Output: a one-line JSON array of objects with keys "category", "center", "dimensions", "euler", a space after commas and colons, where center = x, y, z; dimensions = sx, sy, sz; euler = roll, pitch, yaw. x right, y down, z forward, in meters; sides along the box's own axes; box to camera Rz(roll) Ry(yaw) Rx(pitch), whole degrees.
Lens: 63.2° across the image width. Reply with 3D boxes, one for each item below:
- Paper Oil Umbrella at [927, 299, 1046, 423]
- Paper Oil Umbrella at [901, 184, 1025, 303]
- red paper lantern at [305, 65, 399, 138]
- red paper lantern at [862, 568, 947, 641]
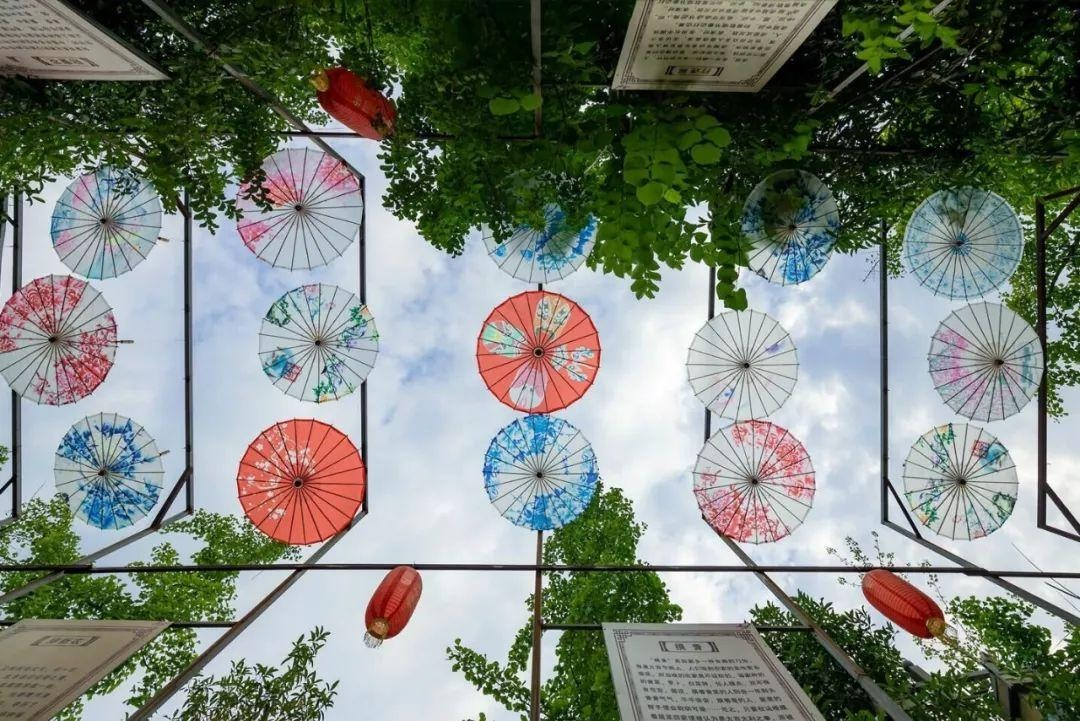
[{"category": "Paper Oil Umbrella", "center": [6.206, 0.023, 12.454], "dimensions": [1.613, 1.099, 2.466], "euler": [-1, 87, 8]}, {"category": "Paper Oil Umbrella", "center": [5.633, -1.544, 11.736], "dimensions": [1.045, 1.267, 1.998], "euler": [-1, 89, -2]}, {"category": "red paper lantern", "center": [-2.126, -3.018, 10.212], "dimensions": [0.843, 0.828, 0.577], "euler": [26, 84, 3]}, {"category": "red paper lantern", "center": [4.239, 2.856, 10.280], "dimensions": [0.924, 0.938, 0.512], "euler": [35, 84, 4]}]
